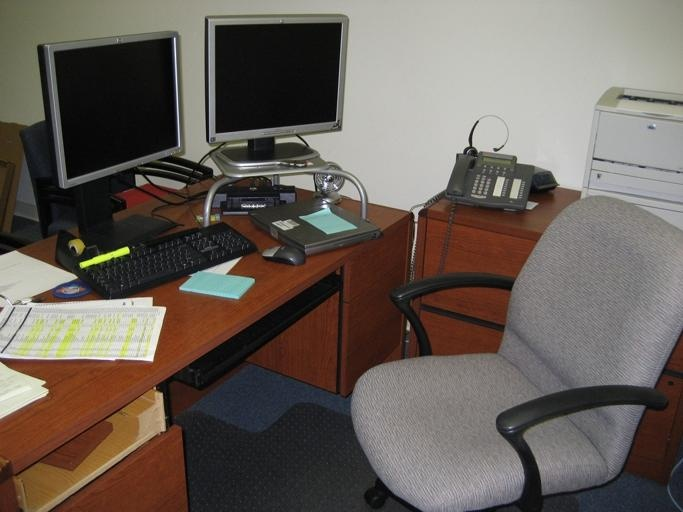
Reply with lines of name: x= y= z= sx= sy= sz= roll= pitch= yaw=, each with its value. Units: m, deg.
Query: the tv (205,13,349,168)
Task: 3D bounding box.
tv: x=-0.253 y=-0.705 z=2.080 sx=0.594 sy=0.472 sz=0.064 roll=-12 pitch=29 yaw=-30

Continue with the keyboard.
keyboard: x=-0.595 y=0.001 z=1.819 sx=0.539 sy=0.066 sz=0.290 roll=-21 pitch=31 yaw=-32

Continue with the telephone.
telephone: x=0.645 y=-0.324 z=2.309 sx=0.353 sy=0.263 sz=0.313 roll=7 pitch=28 yaw=12

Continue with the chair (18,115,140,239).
chair: x=-1.261 y=-0.423 z=2.728 sx=0.591 sy=0.750 sz=0.528 roll=21 pitch=32 yaw=34

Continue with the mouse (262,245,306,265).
mouse: x=-0.201 y=-0.018 z=1.855 sx=0.127 sy=0.036 sz=0.070 roll=14 pitch=30 yaw=23
